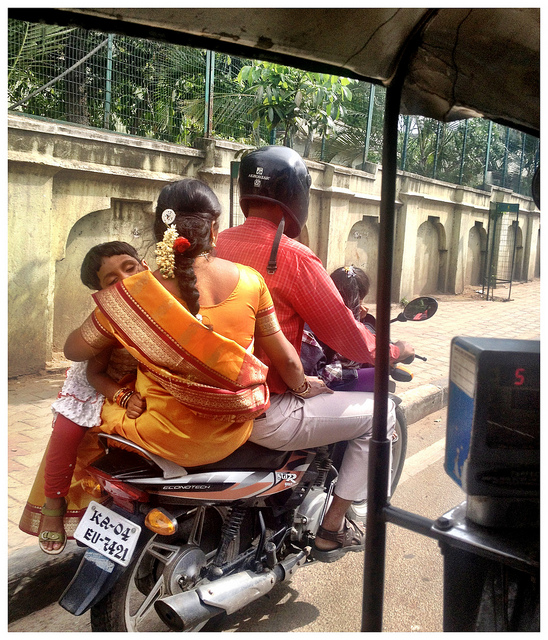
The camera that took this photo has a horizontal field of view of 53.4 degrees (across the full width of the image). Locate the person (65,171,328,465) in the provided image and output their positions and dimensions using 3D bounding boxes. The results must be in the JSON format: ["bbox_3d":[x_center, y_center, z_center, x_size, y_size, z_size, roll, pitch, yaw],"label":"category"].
[{"bbox_3d":[-0.257,0.005,1.891,0.851,0.801,0.649,-5,11,-8],"label":"person"}]

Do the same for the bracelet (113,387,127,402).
[{"bbox_3d":[-0.510,0.250,1.799,0.009,0.037,0.036,29,38,-9],"label":"bracelet"}]

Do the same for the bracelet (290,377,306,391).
[{"bbox_3d":[0.087,0.236,2.042,0.049,0.013,0.049,-24,-17,-39],"label":"bracelet"}]

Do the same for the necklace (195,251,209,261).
[{"bbox_3d":[-0.218,-0.197,1.679,0.024,0.012,0.021,-17,-6,8],"label":"necklace"}]

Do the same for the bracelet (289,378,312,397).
[{"bbox_3d":[0.112,0.265,2.089,0.053,0.066,0.024,17,42,-3],"label":"bracelet"}]

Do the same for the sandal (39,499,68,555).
[{"bbox_3d":[-0.820,0.728,2.037,0.109,0.083,0.322,0,24,-16],"label":"sandal"}]

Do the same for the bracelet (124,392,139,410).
[{"bbox_3d":[-0.462,0.261,1.754,0.032,0.055,0.025,1,4,-36],"label":"bracelet"}]
